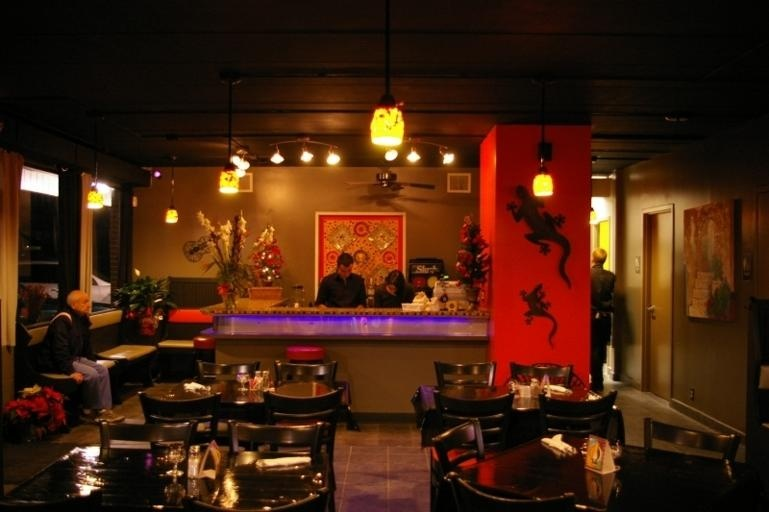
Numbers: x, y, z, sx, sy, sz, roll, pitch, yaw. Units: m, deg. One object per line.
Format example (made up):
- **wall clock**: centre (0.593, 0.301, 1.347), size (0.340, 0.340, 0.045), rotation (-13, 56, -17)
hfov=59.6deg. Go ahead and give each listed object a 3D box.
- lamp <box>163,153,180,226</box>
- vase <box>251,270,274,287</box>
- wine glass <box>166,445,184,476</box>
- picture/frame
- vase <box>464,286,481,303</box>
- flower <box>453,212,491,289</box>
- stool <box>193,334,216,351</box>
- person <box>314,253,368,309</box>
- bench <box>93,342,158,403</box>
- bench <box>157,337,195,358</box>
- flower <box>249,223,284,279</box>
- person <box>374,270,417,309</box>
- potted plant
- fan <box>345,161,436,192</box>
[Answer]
- **lamp**: centre (-3.798, -1.125, 12.025), size (0.253, 1.086, 0.937), rotation (1, -2, -18)
- **vase**: centre (-1.714, 0.330, 9.414), size (0.228, 0.156, 0.229), rotation (-3, -3, 44)
- **wine glass**: centre (-1.784, 1.744, 5.758), size (0.151, 0.244, 0.270), rotation (1, -2, -17)
- **picture/frame**: centre (-0.411, -0.002, 11.546), size (1.716, 1.792, 0.086), rotation (0, 5, 2)
- **vase**: centre (1.196, 0.523, 8.978), size (0.212, 0.161, 0.215), rotation (0, 0, 29)
- **flower**: centre (1.205, -0.046, 8.999), size (0.437, 0.961, 0.483), rotation (1, -2, 6)
- **stool**: centre (-2.821, 1.363, 10.553), size (0.317, 0.226, 0.298), rotation (1, -2, 2)
- **person**: centre (-0.649, 0.368, 10.052), size (0.858, 1.338, 0.739), rotation (-1, 5, -11)
- **bench**: centre (-4.063, 2.009, 10.508), size (0.622, 0.741, 1.267), rotation (0, 4, 0)
- **bench**: centre (-3.390, 1.538, 11.200), size (0.749, 0.236, 0.520), rotation (0, -2, 15)
- **flower**: centre (-1.870, -0.060, 10.912), size (0.543, 1.065, 3.160), rotation (1, -2, -11)
- **person**: centre (0.135, 0.501, 9.956), size (0.554, 0.558, 0.786), rotation (1, -2, 0)
- **potted plant**: centre (-4.084, 0.854, 11.583), size (1.097, 1.111, 1.102), rotation (0, 2, -3)
- **fan**: centre (0.174, -1.417, 12.075), size (1.548, 0.462, 0.571), rotation (1, -2, -1)
